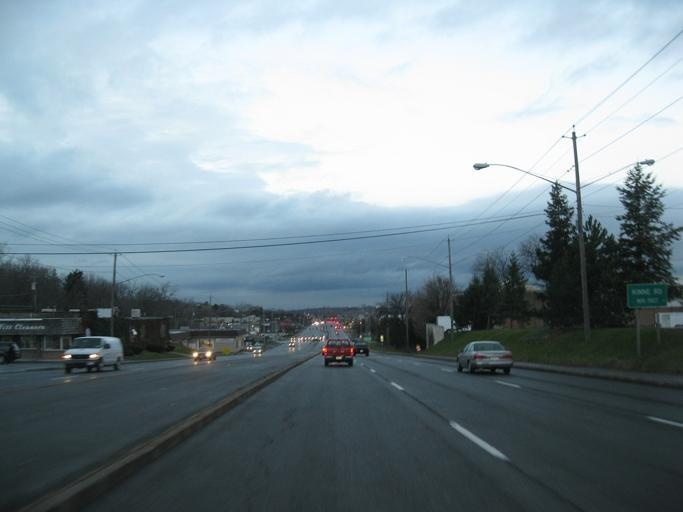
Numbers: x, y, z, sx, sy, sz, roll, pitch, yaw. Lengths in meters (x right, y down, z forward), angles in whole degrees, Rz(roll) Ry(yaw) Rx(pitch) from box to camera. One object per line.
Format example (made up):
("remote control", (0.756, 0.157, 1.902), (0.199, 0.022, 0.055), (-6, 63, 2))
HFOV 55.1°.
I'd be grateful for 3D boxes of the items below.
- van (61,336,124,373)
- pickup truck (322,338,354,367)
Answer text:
("van", (-13.926, 5.555, 36.967), (2.062, 1.907, 4.558), (-1, -8, -2))
("pickup truck", (-0.198, 5.788, 39.186), (1.735, 1.609, 1.774), (-1, -8, -3))
